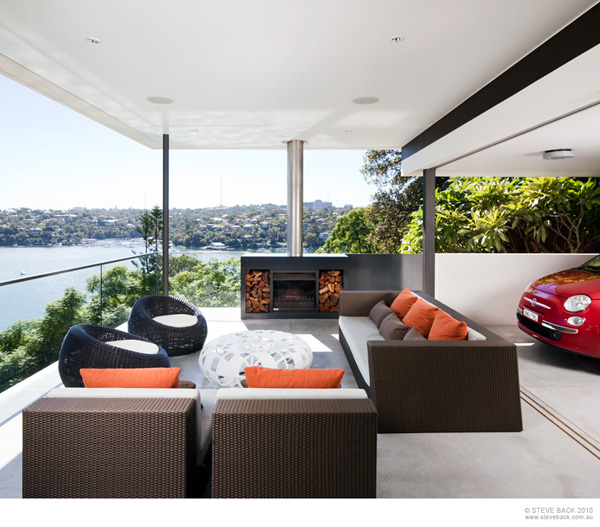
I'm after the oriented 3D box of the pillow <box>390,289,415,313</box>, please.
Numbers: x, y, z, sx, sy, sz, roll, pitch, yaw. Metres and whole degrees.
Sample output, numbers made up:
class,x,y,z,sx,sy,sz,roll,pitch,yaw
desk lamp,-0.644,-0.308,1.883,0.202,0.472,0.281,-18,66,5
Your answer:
class,x,y,z,sx,sy,sz,roll,pitch,yaw
pillow,1.088,0.398,4.540,0.088,0.159,0.241,44,8,0

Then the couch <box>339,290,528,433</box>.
class,x,y,z,sx,sy,sz,roll,pitch,yaw
couch,1.016,0.490,3.304,0.918,0.476,1.814,1,2,3

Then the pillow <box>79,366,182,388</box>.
class,x,y,z,sx,sy,sz,roll,pitch,yaw
pillow,-0.969,0.642,2.431,0.542,0.101,0.088,2,9,0

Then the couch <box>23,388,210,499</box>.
class,x,y,z,sx,sy,sz,roll,pitch,yaw
couch,-0.931,0.876,2.282,1.087,0.565,0.517,-1,1,1

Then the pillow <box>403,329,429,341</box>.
class,x,y,z,sx,sy,sz,roll,pitch,yaw
pillow,0.925,0.568,3.464,0.186,0.049,0.182,1,8,10
